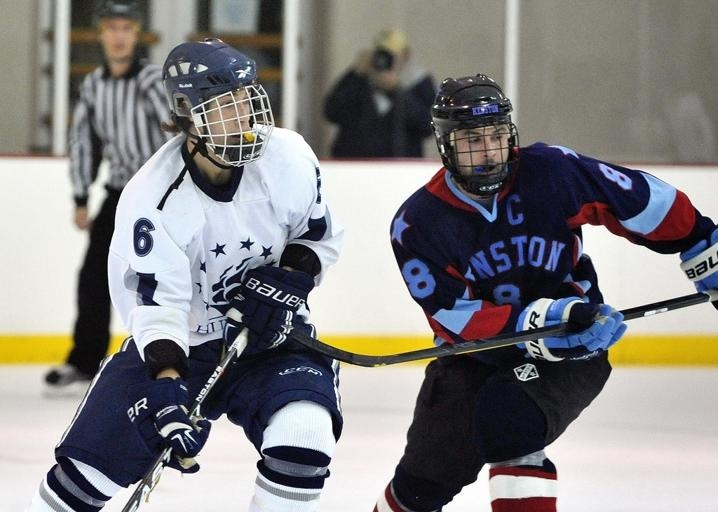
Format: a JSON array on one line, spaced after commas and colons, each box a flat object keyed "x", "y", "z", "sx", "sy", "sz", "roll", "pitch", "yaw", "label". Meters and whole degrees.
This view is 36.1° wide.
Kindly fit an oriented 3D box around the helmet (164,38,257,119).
[{"x": -0.470, "y": -0.606, "z": 3.804, "sx": 0.306, "sy": 0.286, "sz": 0.230, "roll": -7, "pitch": 6, "yaw": 25, "label": "helmet"}]

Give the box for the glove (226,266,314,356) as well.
[{"x": -0.318, "y": 0.179, "z": 3.717, "sx": 0.242, "sy": 0.315, "sz": 0.148, "roll": 21, "pitch": -9, "yaw": -3, "label": "glove"}]

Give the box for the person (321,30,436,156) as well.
[{"x": 0.113, "y": -0.894, "z": 6.418, "sx": 0.583, "sy": 0.764, "sz": 0.257, "roll": 3, "pitch": 2, "yaw": 2, "label": "person"}]

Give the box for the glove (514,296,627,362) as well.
[{"x": 0.716, "y": 0.236, "z": 3.632, "sx": 0.282, "sy": 0.148, "sz": 0.223, "roll": 16, "pitch": 29, "yaw": 36, "label": "glove"}]
